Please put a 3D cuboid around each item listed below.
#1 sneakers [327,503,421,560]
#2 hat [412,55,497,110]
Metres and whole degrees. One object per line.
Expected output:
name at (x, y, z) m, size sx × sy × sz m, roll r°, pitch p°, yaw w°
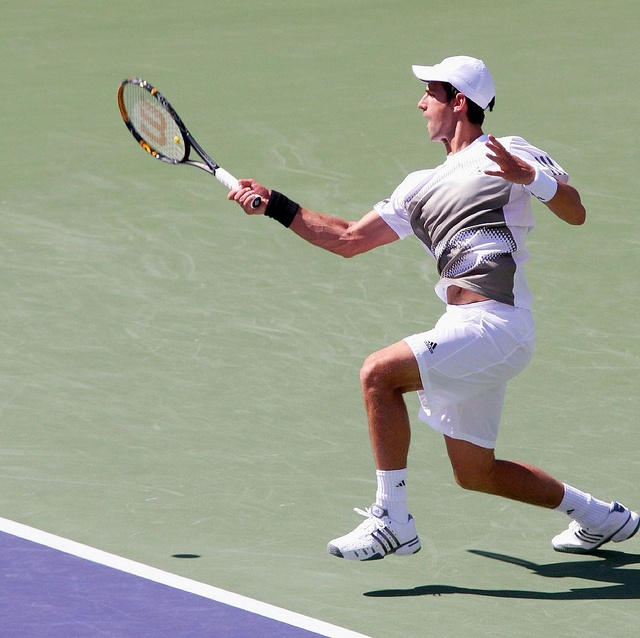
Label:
sneakers at (0.250, 0.918, 5.086) m, size 0.451 × 0.192 × 0.189 m, roll -1°, pitch 0°, yaw -8°
hat at (0.610, -1.076, 5.214) m, size 0.364 × 0.154 × 0.229 m, roll 18°, pitch 13°, yaw 0°
